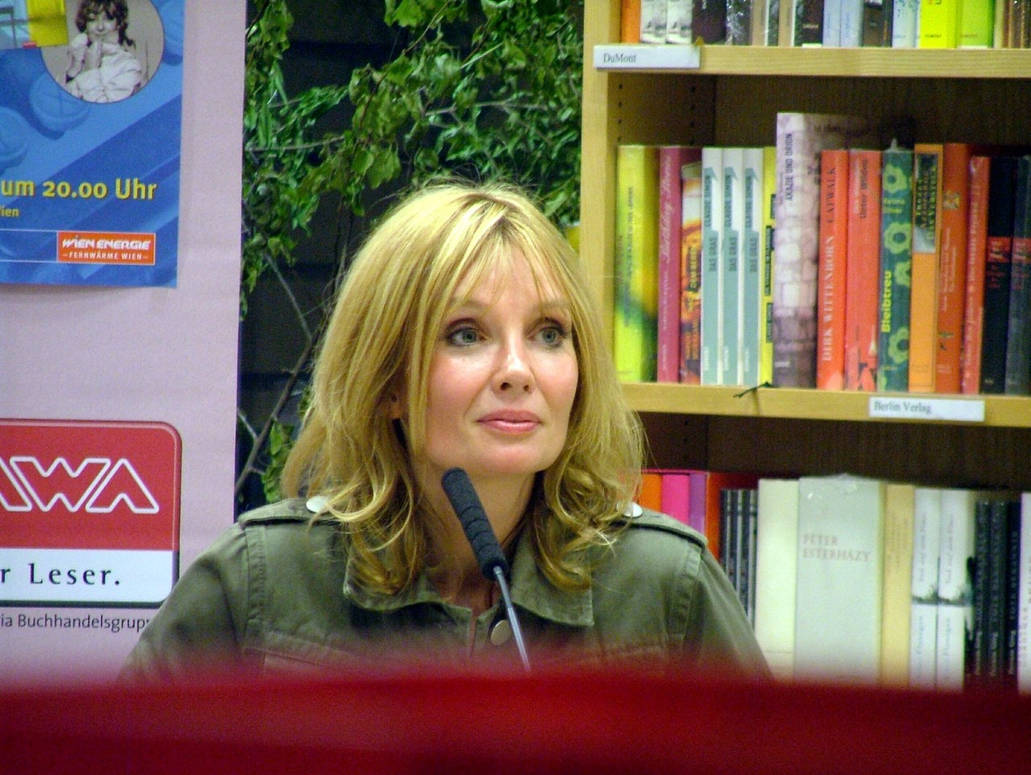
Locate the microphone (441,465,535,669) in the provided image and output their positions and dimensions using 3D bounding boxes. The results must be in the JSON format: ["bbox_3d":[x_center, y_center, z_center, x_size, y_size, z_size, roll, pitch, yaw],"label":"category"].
[{"bbox_3d":[-0.048,0.213,3.180,0.054,0.070,0.537,-13,39,-11],"label":"microphone"}]

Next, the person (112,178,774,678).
[{"bbox_3d":[-0.085,0.134,3.625,1.198,0.945,0.585,1,-5,-17],"label":"person"}]
